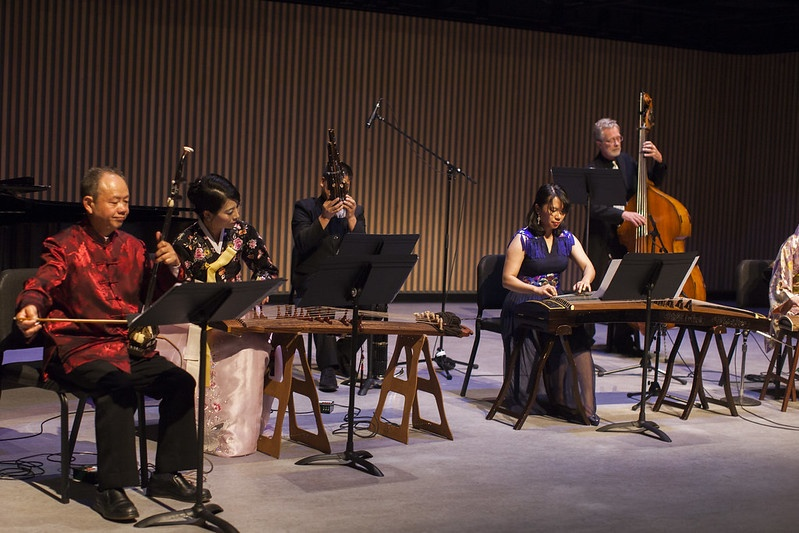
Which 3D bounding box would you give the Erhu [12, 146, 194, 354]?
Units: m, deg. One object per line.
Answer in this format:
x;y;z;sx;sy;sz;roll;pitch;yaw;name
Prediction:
-2.076;-0.129;5.779;0.164;2.225;0.337;18;-1;10;Erhu

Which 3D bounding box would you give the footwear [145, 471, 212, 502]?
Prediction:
-1.236;1.246;4.863;0.384;0.158;0.143;3;4;4;footwear

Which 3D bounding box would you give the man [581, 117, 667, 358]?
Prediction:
2.113;-0.308;7.961;0.913;2.262;0.696;-1;3;16;man

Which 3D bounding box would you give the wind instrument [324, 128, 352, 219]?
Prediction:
-0.440;-0.716;6.064;0.163;0.489;0.510;2;2;-5;wind instrument

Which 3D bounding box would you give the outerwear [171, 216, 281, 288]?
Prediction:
-1.203;-0.109;5.560;0.689;0.448;0.413;-8;16;-38;outerwear

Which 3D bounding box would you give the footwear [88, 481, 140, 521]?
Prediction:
-1.582;1.296;4.695;0.277;0.119;0.115;3;1;44;footwear

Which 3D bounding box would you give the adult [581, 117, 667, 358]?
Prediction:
2.120;-0.287;7.993;0.913;2.262;0.696;-1;3;16;adult

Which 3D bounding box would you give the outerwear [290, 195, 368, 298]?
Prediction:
-0.566;-0.138;6.662;0.572;0.823;0.678;3;2;-4;outerwear

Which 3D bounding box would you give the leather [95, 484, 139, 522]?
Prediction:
-1.560;1.299;4.701;0.271;0.116;0.116;5;3;43;leather

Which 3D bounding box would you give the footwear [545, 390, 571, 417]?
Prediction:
1.183;1.020;6.314;0.149;0.180;0.184;5;-8;-38;footwear

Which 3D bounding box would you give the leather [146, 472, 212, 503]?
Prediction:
-1.231;1.246;4.860;0.376;0.154;0.143;3;4;3;leather

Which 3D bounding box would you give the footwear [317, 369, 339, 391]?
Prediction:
-0.571;0.913;6.851;0.130;0.134;0.334;2;-6;-12;footwear

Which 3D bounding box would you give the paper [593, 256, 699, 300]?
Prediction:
1.688;0.063;5.751;0.528;0.322;0.343;-1;9;-18;paper

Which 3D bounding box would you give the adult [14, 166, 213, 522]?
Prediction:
-1.639;0.414;4.811;0.999;1.833;0.997;0;5;-22;adult

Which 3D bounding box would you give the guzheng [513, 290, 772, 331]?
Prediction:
1.718;0.348;6.128;1.749;0.265;0.371;2;2;-12;guzheng
